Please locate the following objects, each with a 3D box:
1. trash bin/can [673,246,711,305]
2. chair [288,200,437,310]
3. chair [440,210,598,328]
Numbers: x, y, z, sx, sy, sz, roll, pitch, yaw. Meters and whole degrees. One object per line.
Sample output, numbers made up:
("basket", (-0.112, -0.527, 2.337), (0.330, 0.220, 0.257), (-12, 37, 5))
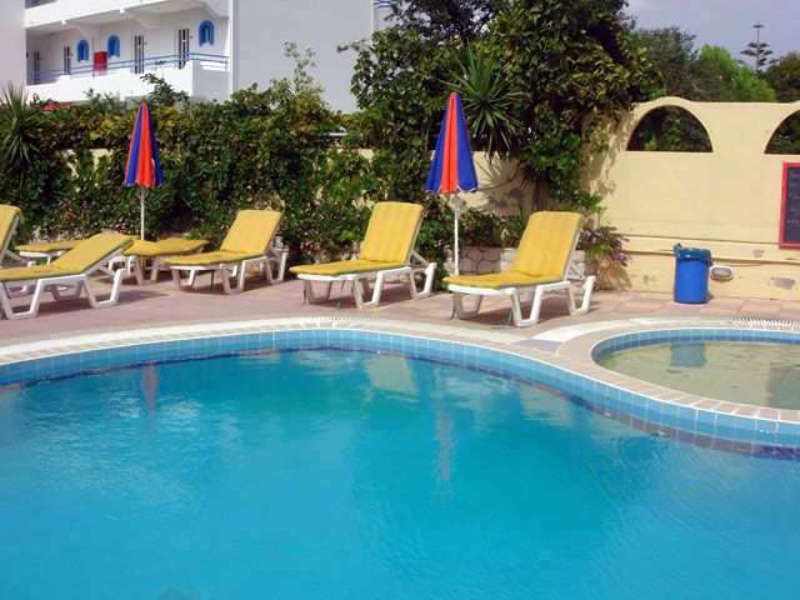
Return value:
("trash bin/can", (4.556, -0.404, 10.757), (0.556, 0.886, 0.384), (6, 7, 21))
("chair", (-0.513, -0.737, 10.386), (2.079, 1.592, 1.219), (-6, 9, -44))
("chair", (1.636, -0.466, 9.366), (1.849, 1.509, 1.221), (-7, 7, -36))
